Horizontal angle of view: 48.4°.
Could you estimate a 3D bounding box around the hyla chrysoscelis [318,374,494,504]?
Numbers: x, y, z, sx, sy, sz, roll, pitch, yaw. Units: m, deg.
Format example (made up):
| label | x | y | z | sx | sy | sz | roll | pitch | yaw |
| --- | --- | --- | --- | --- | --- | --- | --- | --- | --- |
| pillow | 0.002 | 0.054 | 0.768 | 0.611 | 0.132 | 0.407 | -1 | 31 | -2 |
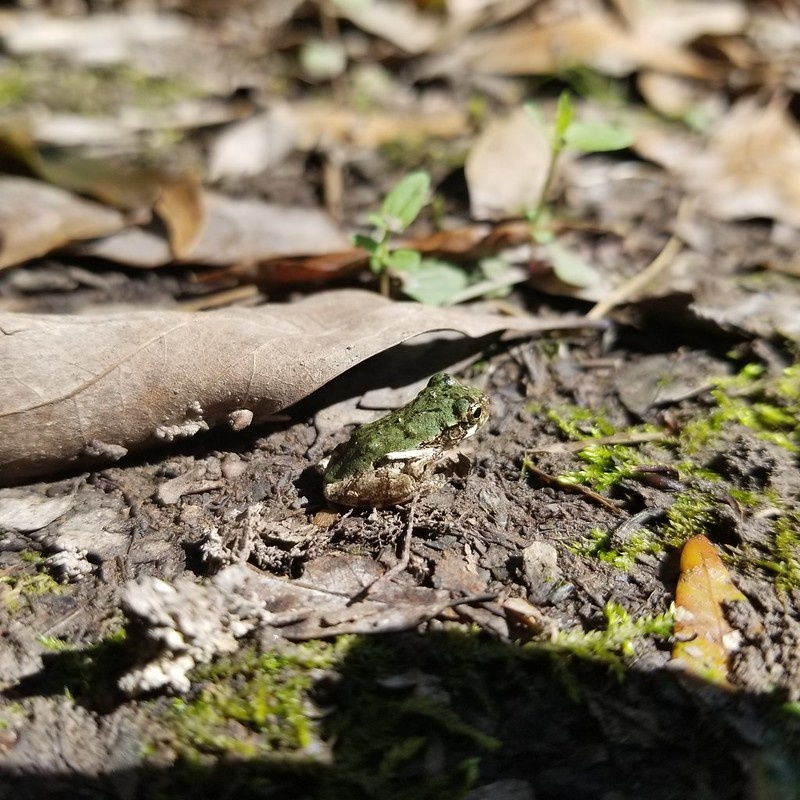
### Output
| label | x | y | z | sx | sy | sz | roll | pitch | yaw |
| --- | --- | --- | --- | --- | --- | --- | --- | --- | --- |
| hyla chrysoscelis | 0.035 | 0.129 | 2.805 | 0.555 | 0.174 | 0.352 | -13 | 36 | -17 |
